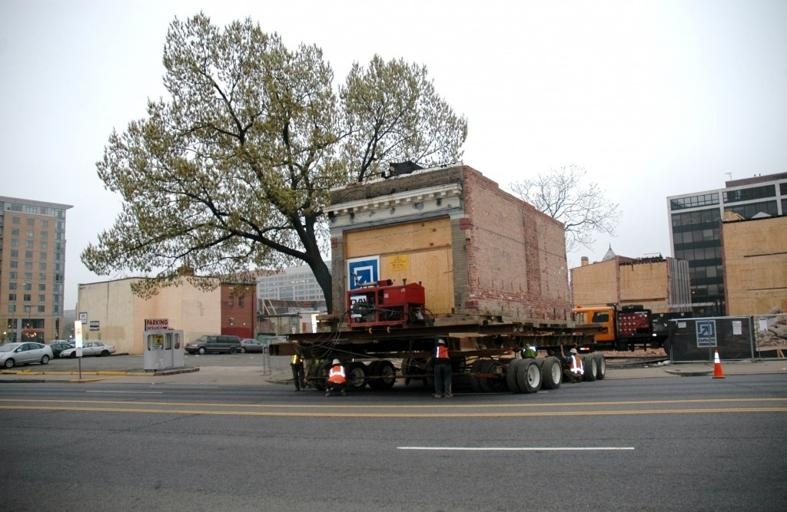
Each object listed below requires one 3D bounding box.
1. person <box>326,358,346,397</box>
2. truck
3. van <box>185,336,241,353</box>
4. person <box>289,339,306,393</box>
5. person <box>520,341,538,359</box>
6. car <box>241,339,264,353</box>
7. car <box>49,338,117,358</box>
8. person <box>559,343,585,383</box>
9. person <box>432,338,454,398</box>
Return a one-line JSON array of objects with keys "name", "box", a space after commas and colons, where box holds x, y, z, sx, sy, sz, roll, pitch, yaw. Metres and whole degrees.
[{"name": "person", "box": [-2.036, 4.277, 22.628, 0.725, 1.286, 1.214, -1, -9, -6]}, {"name": "truck", "box": [13.714, 4.129, 37.329, 7.927, 3.799, 3.456, -3, -7, 26]}, {"name": "van", "box": [-16.158, 8.056, 57.510, 3.875, 1.345, 1.870, 11, -15, -43]}, {"name": "person", "box": [-3.603, 4.267, 23.946, 0.469, 1.559, 1.477, 0, -9, -8]}, {"name": "person", "box": [4.907, 3.460, 23.261, 0.575, 0.548, 2.444, -3, -9, 11]}, {"name": "car", "box": [-13.615, 8.652, 60.791, 1.455, 1.217, 2.698, -7, -10, 31]}, {"name": "car", "box": [-26.448, 7.843, 53.677, 3.462, 1.473, 5.314, -3, -9, 4]}, {"name": "person", "box": [7.093, 4.391, 25.611, 0.553, 1.335, 0.913, -5, 1, 38]}, {"name": "person", "box": [1.578, 3.620, 20.664, 0.556, 1.899, 0.582, 0, -8, -9]}]
